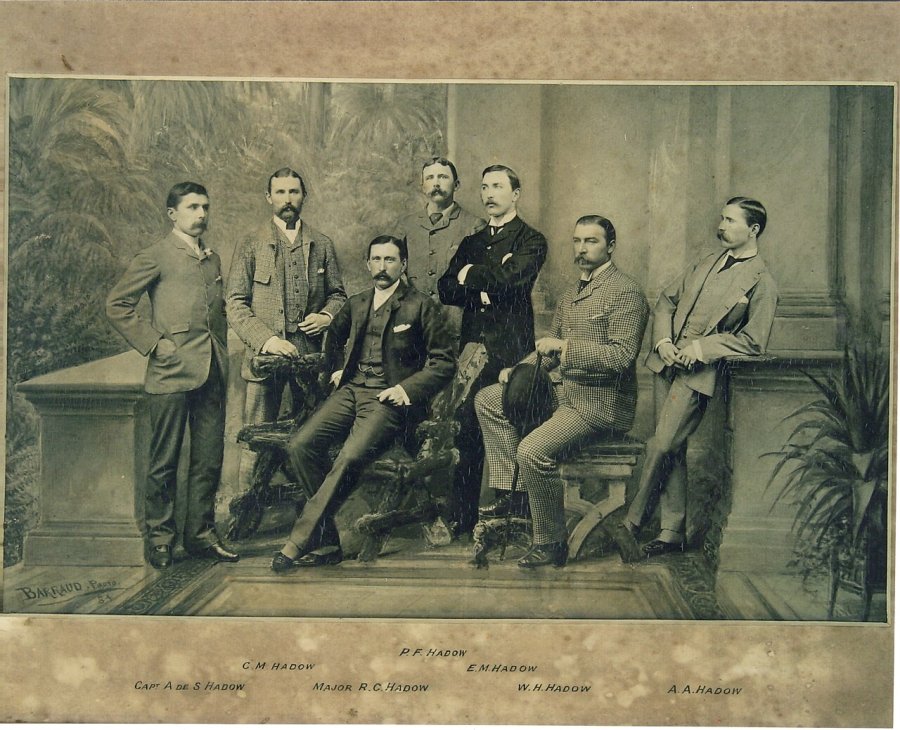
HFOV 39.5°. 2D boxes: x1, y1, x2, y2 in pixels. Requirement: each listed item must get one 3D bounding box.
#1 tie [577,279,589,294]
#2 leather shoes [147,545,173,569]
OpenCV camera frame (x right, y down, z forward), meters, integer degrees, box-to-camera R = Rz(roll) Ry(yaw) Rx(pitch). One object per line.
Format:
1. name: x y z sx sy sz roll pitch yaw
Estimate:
1. tie: 1.132 -0.674 10.756 0.105 0.099 0.028 -3 -13 40
2. leather shoes: -2.507 1.652 10.759 0.191 0.193 0.062 -12 5 -5
